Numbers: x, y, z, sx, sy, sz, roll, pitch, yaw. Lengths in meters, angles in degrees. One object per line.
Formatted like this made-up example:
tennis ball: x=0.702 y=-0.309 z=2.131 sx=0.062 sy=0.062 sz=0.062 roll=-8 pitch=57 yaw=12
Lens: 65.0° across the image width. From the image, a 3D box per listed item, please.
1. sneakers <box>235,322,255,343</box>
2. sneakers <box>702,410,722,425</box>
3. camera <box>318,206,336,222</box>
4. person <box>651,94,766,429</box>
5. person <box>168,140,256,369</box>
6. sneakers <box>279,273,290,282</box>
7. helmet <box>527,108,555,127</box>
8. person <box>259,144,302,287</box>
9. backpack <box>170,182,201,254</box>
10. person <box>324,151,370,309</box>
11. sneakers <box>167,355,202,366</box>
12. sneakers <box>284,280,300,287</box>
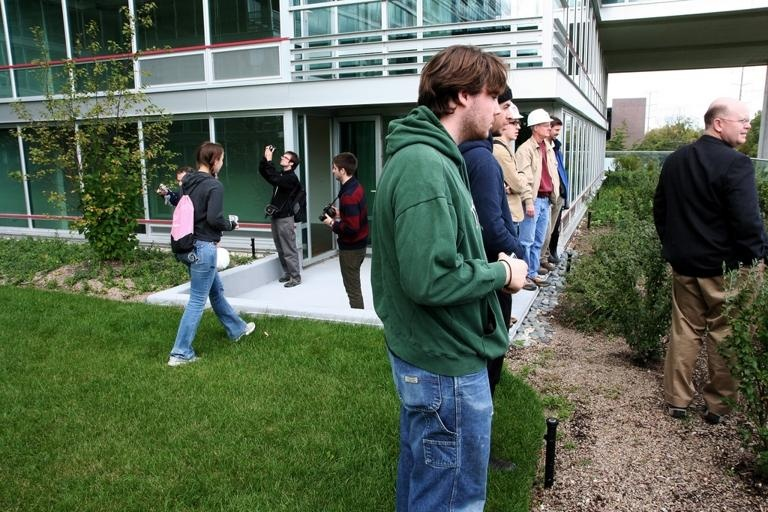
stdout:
sneakers: x=-1.749 y=0.962 z=7.669 sx=0.107 sy=0.135 sz=0.310 roll=20 pitch=36 yaw=21
sneakers: x=3.224 y=1.572 z=5.912 sx=0.157 sy=0.120 sz=0.131 roll=5 pitch=14 yaw=30
camera: x=-0.797 y=-0.582 z=8.583 sx=0.199 sy=0.208 sz=0.080 roll=33 pitch=8 yaw=20
person: x=3.205 y=0.008 z=6.016 sx=0.811 sy=3.051 sz=0.773 roll=-1 pitch=11 yaw=6
person: x=-2.152 y=-0.051 z=7.135 sx=0.599 sy=2.492 sz=1.077 roll=6 pitch=14 yaw=35
sneakers: x=-1.777 y=0.401 z=10.765 sx=0.103 sy=0.121 sz=0.292 roll=1 pitch=-2 yaw=8
helmet: x=2.370 y=-2.129 z=9.400 sx=0.356 sy=0.203 sz=0.294 roll=4 pitch=16 yaw=45
person: x=-1.772 y=-0.659 z=10.576 sx=0.640 sy=2.286 sz=0.709 roll=1 pitch=12 yaw=13
backpack: x=-2.356 y=-0.362 z=7.052 sx=0.286 sy=0.684 sz=0.351 roll=-5 pitch=12 yaw=-15
person: x=-0.528 y=-0.267 z=8.384 sx=0.592 sy=2.270 sz=0.740 roll=-3 pitch=11 yaw=-4
sneakers: x=-2.346 y=1.232 z=7.045 sx=0.332 sy=0.169 sz=0.138 roll=-2 pitch=6 yaw=-14
sneakers: x=-1.601 y=0.481 z=10.513 sx=0.234 sy=0.174 sz=0.104 roll=-6 pitch=8 yaw=-44
